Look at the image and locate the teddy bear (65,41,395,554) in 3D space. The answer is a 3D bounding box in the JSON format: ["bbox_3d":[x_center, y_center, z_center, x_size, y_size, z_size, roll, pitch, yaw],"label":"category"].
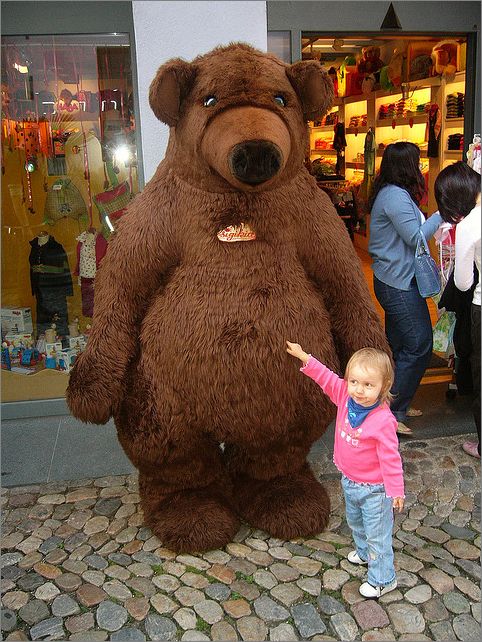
[{"bbox_3d":[-0.009,-0.027,2.053,1.277,2.003,1.036,-1,14,-6],"label":"teddy bear"}]

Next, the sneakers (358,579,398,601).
[{"bbox_3d":[0.478,0.944,1.711,0.129,0.055,0.055,-4,22,-14],"label":"sneakers"}]

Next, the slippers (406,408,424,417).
[{"bbox_3d":[1.284,0.675,3.591,0.056,0.061,0.134,-5,6,-17],"label":"slippers"}]

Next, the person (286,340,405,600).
[{"bbox_3d":[0.421,0.527,1.694,0.304,0.914,0.416,-4,6,-34],"label":"person"}]

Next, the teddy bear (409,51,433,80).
[{"bbox_3d":[2.383,-3.395,6.443,0.253,0.353,0.359,-1,27,7],"label":"teddy bear"}]

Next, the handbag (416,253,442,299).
[{"bbox_3d":[1.192,-0.286,3.097,0.101,0.280,0.279,-11,3,27],"label":"handbag"}]
